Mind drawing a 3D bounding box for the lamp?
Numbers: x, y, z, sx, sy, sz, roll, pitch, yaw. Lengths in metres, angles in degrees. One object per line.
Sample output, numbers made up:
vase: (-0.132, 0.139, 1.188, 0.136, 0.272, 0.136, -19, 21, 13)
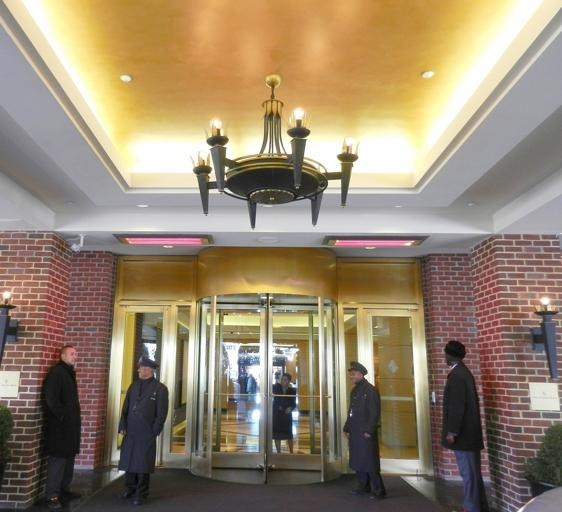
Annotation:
lamp: (-0.055, -0.865, 2.945, 1.175, 1.001, 1.154, -2, -6, 16)

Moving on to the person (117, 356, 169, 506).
person: (-1.763, 2.160, 5.112, 0.602, 1.689, 0.458, -8, -15, 35)

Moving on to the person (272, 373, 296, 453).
person: (0.048, 2.419, 6.215, 0.366, 1.153, 0.137, 0, -12, 3)

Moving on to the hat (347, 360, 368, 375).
hat: (1.087, 1.580, 5.678, 0.313, 0.134, 0.247, 23, -16, 3)

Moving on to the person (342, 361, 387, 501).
person: (1.097, 2.284, 5.419, 0.378, 1.656, 0.503, 6, -13, -23)

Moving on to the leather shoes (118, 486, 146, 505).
leather shoes: (-1.760, 2.899, 4.862, 0.206, 0.134, 0.480, 13, -18, -42)

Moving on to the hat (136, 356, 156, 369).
hat: (-1.793, 1.445, 5.323, 0.213, 0.099, 0.193, 22, -23, -33)

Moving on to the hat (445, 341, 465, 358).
hat: (2.255, 1.199, 5.147, 0.172, 0.126, 0.233, 10, 11, 2)
